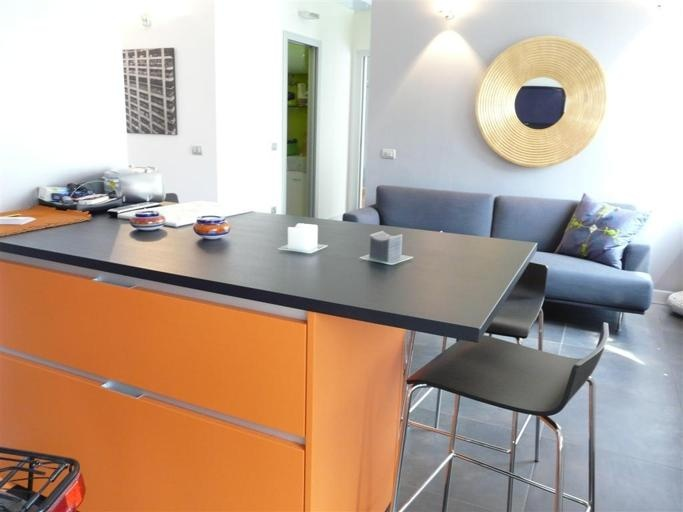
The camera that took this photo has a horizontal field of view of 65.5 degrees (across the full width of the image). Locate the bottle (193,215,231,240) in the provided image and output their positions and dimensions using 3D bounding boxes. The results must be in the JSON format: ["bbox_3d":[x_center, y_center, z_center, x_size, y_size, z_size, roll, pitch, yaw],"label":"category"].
[{"bbox_3d":[-0.565,-0.125,2.216,0.115,0.062,0.111,1,11,0],"label":"bottle"}]

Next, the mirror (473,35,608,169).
[{"bbox_3d":[1.829,-1.399,4.694,1.300,1.376,0.096,2,16,15],"label":"mirror"}]

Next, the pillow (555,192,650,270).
[{"bbox_3d":[2.143,-0.208,4.330,0.367,0.538,0.521,-3,13,-37],"label":"pillow"}]
